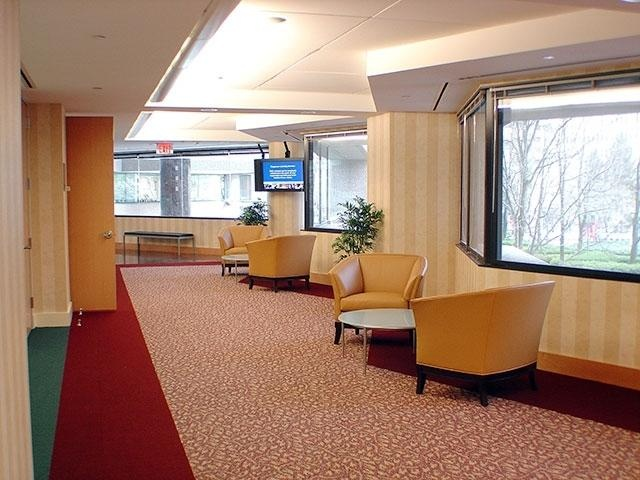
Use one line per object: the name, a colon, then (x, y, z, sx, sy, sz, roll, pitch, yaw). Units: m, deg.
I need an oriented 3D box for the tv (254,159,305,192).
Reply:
tv: (-0.945, -1.504, 10.307, 1.439, 0.757, 0.226, 4, 9, 30)

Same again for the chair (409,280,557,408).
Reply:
chair: (1.481, 0.705, 4.382, 1.405, 1.093, 1.098, -1, 3, -38)

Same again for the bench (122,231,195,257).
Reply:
bench: (-5.359, 0.042, 14.435, 2.636, 0.568, 1.458, 5, 8, 34)

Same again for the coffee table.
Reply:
coffee table: (0.617, 1.091, 4.889, 0.828, 0.525, 0.859, 0, 7, 3)

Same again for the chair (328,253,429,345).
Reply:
chair: (0.794, 0.602, 5.963, 1.366, 1.156, 1.123, 0, 0, 26)

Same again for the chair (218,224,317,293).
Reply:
chair: (-1.259, 0.325, 9.574, 1.548, 1.095, 3.150, -3, 7, -20)
